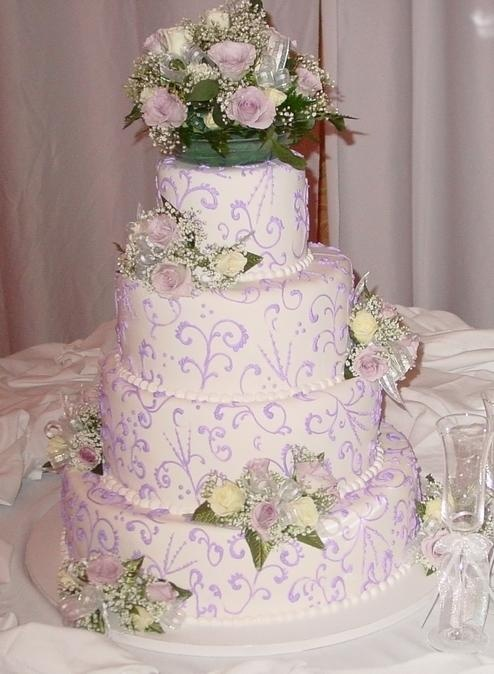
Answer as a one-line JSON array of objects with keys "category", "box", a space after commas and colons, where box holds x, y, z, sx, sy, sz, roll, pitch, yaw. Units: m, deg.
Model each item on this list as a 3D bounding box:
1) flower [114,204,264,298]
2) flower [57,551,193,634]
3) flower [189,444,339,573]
[{"category": "flower", "box": [-0.182, -0.317, 2.277, 0.430, 0.118, 0.264, 3, -13, 43]}, {"category": "flower", "box": [-0.325, 0.853, 2.322, 0.426, 0.223, 0.139, 13, 56, 7]}, {"category": "flower", "box": [0.098, 0.495, 2.079, 0.439, 0.373, 0.123, 21, -6, -1]}]
